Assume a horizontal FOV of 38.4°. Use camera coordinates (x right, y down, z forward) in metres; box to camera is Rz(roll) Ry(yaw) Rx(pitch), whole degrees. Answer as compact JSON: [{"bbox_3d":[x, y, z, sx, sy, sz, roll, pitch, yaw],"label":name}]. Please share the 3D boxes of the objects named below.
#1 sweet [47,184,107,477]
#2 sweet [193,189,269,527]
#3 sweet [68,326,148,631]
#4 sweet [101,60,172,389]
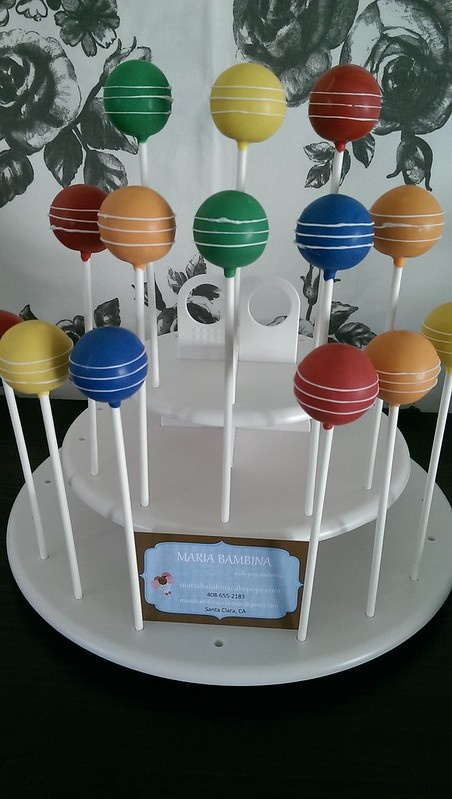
[{"bbox_3d":[-0.140,-0.077,0.638,0.078,0.247,0.078,-2,22,-17],"label":"sweet"},{"bbox_3d":[0.003,-0.041,0.528,0.059,0.248,0.060,15,25,31],"label":"sweet"},{"bbox_3d":[-0.079,0.060,0.512,0.055,0.258,0.080,12,34,14],"label":"sweet"},{"bbox_3d":[-0.076,-0.171,0.611,0.061,0.259,0.061,-1,30,-3],"label":"sweet"}]
